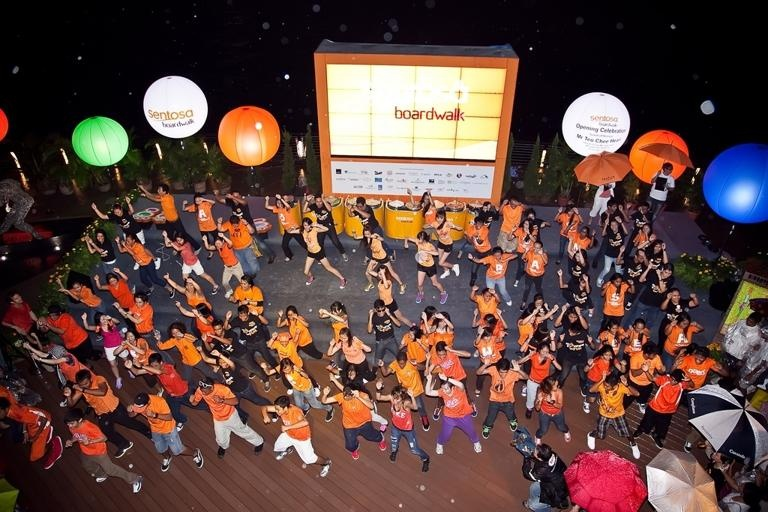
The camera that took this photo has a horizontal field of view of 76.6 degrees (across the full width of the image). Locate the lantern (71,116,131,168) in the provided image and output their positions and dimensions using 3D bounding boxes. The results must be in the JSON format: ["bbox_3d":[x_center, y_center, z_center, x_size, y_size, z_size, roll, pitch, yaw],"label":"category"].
[{"bbox_3d":[-8.316,-3.349,14.210,1.357,1.356,0.516,-5,18,-22],"label":"lantern"}]

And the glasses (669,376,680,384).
[{"bbox_3d":[5.907,2.536,9.850,0.141,0.133,0.121,7,34,-3],"label":"glasses"}]

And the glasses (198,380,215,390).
[{"bbox_3d":[-3.518,2.535,9.589,0.273,0.225,0.173,-4,18,-20],"label":"glasses"}]

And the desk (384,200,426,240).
[{"bbox_3d":[0.683,-1.194,15.400,1.237,1.288,1.348,0,29,-3],"label":"desk"}]

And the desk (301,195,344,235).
[{"bbox_3d":[-1.797,-1.294,14.705,1.017,1.171,1.217,-1,29,-4],"label":"desk"}]

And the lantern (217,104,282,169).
[{"bbox_3d":[-3.951,-3.567,14.113,1.473,1.799,1.285,-8,30,-16],"label":"lantern"}]

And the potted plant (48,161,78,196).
[{"bbox_3d":[-11.645,-2.837,17.579,0.770,1.017,0.691,-17,28,-21],"label":"potted plant"}]
